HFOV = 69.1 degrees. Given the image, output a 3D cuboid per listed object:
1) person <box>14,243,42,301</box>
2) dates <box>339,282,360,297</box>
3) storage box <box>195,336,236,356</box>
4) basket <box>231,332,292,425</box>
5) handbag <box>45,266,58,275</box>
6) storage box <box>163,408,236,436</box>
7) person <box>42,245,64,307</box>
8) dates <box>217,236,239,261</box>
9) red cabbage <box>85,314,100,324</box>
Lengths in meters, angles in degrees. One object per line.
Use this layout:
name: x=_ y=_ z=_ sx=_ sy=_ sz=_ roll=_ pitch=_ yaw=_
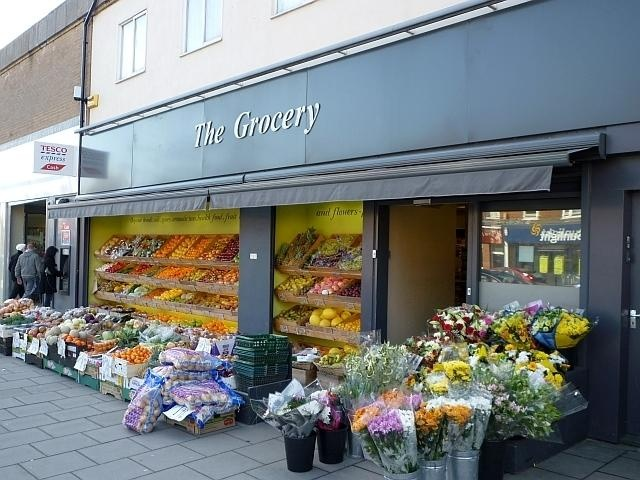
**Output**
person: x=-8.735 y=1.021 z=13.974 sx=0.687 sy=1.840 sz=1.339 roll=0 pitch=0 yaw=-34
dates: x=0.546 y=0.886 z=8.306 sx=0.364 sy=0.242 sz=0.350 roll=0 pitch=0 yaw=-1
storage box: x=-1.601 y=1.702 z=7.410 sx=0.522 sy=0.313 sz=0.535 roll=1 pitch=0 yaw=43
basket: x=-0.760 y=1.865 z=6.652 sx=0.779 sy=1.140 sz=0.678 roll=0 pitch=6 yaw=-41
handbag: x=-8.054 y=0.932 z=13.919 sx=0.250 sy=0.090 sz=0.243 roll=-8 pitch=-41 yaw=15
storage box: x=-1.654 y=2.372 z=6.390 sx=0.864 sy=0.225 sz=0.690 roll=1 pitch=6 yaw=-34
person: x=-8.170 y=1.147 z=14.189 sx=0.499 sy=1.870 sz=0.789 roll=0 pitch=-1 yaw=-35
dates: x=-2.081 y=0.200 z=10.583 sx=0.444 sy=0.590 sz=1.015 roll=0 pitch=0 yaw=-12
red cabbage: x=-4.575 y=1.599 z=9.400 sx=0.267 sy=0.091 sz=0.262 roll=2 pitch=9 yaw=-45
